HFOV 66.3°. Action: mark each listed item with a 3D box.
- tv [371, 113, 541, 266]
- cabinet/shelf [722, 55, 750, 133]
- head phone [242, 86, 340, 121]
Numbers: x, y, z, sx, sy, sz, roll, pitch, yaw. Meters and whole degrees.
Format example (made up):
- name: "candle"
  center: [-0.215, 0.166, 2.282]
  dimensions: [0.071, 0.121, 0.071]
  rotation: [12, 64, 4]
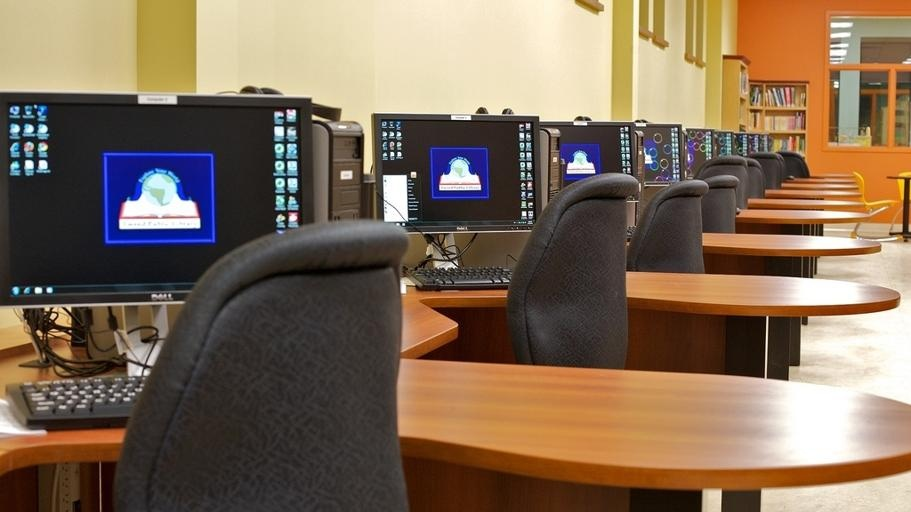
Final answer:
- name: "tv"
  center: [0.002, -0.329, 3.045]
  dimensions: [0.792, 0.530, 0.083]
  rotation: [0, -3, -11]
- name: "cabinet/shelf"
  center: [5.521, -3.242, 13.830]
  dimensions: [0.503, 1.447, 1.424]
  rotation: [5, 13, 23]
- name: "head phone"
  center: [-0.704, -0.621, 2.955]
  dimensions: [0.333, 0.112, 0.239]
  rotation: [8, -1, 2]
